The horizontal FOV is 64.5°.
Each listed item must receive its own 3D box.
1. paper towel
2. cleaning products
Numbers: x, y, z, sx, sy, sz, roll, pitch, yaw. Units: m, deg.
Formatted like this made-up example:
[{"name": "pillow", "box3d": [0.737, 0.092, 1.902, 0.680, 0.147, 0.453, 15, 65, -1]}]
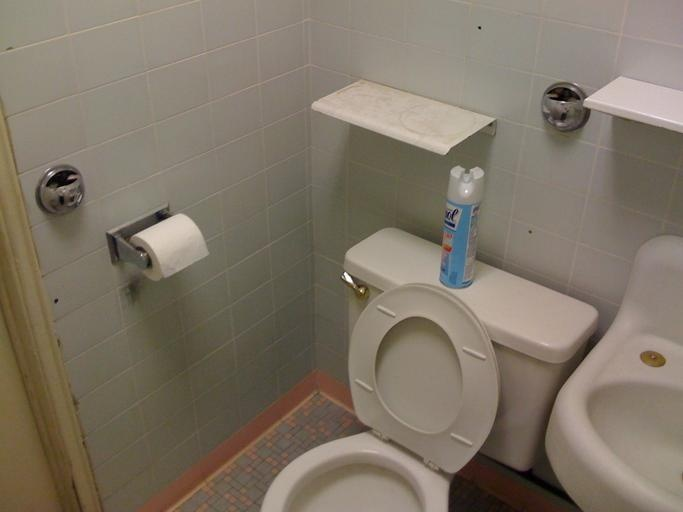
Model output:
[{"name": "paper towel", "box3d": [-0.433, -0.029, 1.397, 0.162, 0.147, 0.158, 36, 47, 29]}, {"name": "cleaning products", "box3d": [0.314, -0.068, 1.450, 0.088, 0.351, 0.094, 16, 38, 25]}]
